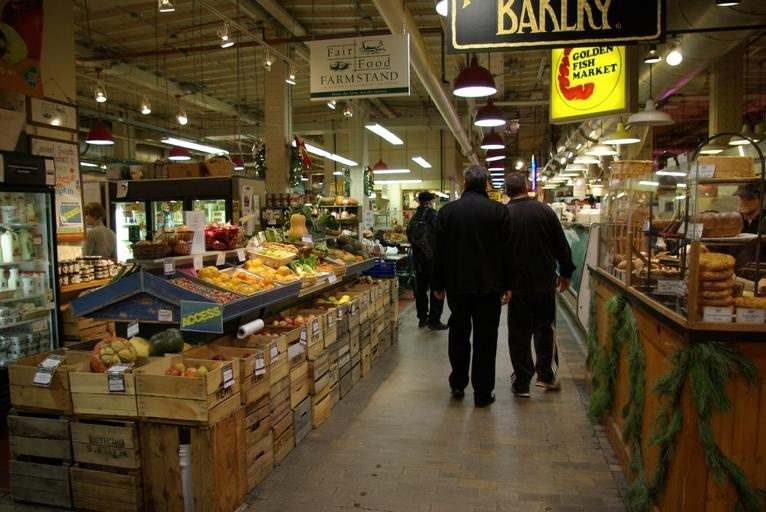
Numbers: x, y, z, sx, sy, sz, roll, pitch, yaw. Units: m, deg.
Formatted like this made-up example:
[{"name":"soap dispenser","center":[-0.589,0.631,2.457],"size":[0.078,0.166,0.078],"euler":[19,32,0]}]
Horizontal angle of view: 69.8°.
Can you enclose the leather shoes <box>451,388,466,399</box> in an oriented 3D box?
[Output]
[{"name":"leather shoes","center":[0.799,1.473,5.840],"size":[0.111,0.076,0.110],"euler":[-1,-9,7]}]

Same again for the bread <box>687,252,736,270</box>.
[{"name":"bread","center":[2.220,0.034,3.678],"size":[0.157,0.044,0.150],"euler":[-7,11,-25]}]

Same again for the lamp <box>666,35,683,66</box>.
[{"name":"lamp","center":[4.294,-3.041,8.043],"size":[0.239,0.413,0.442],"euler":[4,12,21]}]

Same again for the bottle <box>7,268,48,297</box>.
[{"name":"bottle","center":[-3.750,0.284,5.782],"size":[0.377,0.336,0.262],"euler":[0,3,-5]}]

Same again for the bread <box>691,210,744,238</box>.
[{"name":"bread","center":[2.372,-0.223,3.908],"size":[0.397,0.187,0.135],"euler":[-6,13,-24]}]

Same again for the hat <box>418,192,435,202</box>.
[{"name":"hat","center":[0.626,-0.858,8.048],"size":[0.212,0.165,0.229],"euler":[0,12,2]}]

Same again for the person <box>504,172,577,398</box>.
[{"name":"person","center":[1.658,0.308,5.916],"size":[0.701,2.354,0.534],"euler":[-4,12,-15]}]

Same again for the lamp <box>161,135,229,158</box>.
[{"name":"lamp","center":[-4.908,-2.831,14.233],"size":[1.347,0.457,4.950],"euler":[-5,12,-19]}]

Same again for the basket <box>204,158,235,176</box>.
[{"name":"basket","center":[-2.206,-1.199,7.387],"size":[0.351,0.273,0.347],"euler":[-5,12,-19]}]

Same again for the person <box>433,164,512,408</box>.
[{"name":"person","center":[0.937,0.316,5.673],"size":[0.752,2.416,0.501],"euler":[7,14,35]}]

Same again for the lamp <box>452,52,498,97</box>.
[{"name":"lamp","center":[1.181,-2.182,6.971],"size":[0.706,0.709,0.691],"euler":[1,8,9]}]

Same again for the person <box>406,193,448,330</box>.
[{"name":"person","center":[0.814,0.058,8.532],"size":[0.844,2.098,0.761],"euler":[1,4,43]}]

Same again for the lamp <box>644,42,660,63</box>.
[{"name":"lamp","center":[4.304,-3.236,8.736],"size":[0.206,0.322,0.666],"euler":[4,12,21]}]

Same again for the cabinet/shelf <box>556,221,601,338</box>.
[{"name":"cabinet/shelf","center":[2.696,0.357,7.528],"size":[0.489,1.043,1.877],"euler":[-1,1,12]}]

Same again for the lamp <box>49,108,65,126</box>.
[{"name":"lamp","center":[-4.390,-1.879,7.386],"size":[0.062,0.213,0.239],"euler":[3,3,34]}]

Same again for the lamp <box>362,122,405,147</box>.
[{"name":"lamp","center":[0.071,-3.693,16.520],"size":[0.311,0.080,2.215],"euler":[-18,-8,20]}]

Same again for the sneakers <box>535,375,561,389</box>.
[{"name":"sneakers","center":[1.871,1.410,6.102],"size":[0.320,0.137,0.111],"euler":[-1,3,-6]}]

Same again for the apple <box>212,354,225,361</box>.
[{"name":"apple","center":[-1.377,0.860,4.599],"size":[0.060,0.058,0.070],"euler":[17,-13,12]}]

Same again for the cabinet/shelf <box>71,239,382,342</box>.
[{"name":"cabinet/shelf","center":[-1.591,0.372,4.977],"size":[1.220,0.705,1.784],"euler":[8,15,37]}]

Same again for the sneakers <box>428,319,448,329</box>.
[{"name":"sneakers","center":[0.845,1.083,8.543],"size":[0.344,0.148,0.111],"euler":[-1,1,-4]}]

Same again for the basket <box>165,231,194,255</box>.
[{"name":"basket","center":[-1.821,-0.116,4.918],"size":[0.222,0.147,0.213],"euler":[-1,0,-7]}]

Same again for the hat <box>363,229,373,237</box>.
[{"name":"hat","center":[-0.325,-0.470,11.575],"size":[0.153,0.166,0.184],"euler":[15,35,37]}]
